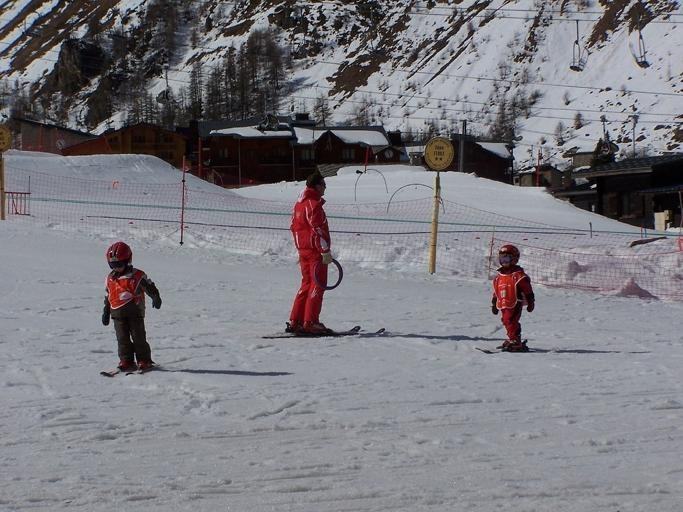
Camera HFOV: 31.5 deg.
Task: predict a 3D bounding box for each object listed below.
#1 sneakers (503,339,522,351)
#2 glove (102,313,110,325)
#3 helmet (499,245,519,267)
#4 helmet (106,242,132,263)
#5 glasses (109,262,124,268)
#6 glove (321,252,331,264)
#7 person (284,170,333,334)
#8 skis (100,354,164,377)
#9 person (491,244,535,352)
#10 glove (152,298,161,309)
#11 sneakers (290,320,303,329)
[{"bbox_3d":[2.989,1.554,21.282,0.266,0.079,0.195,-1,1,-42],"label":"sneakers"},{"bbox_3d":[-3.982,1.055,20.412,0.124,0.194,0.276,4,3,-12],"label":"glove"},{"bbox_3d":[2.904,-0.026,21.642,0.435,0.366,0.331,2,-3,-17],"label":"helmet"},{"bbox_3d":[-3.785,-0.097,20.478,0.345,0.354,0.431,-3,18,4],"label":"helmet"},{"bbox_3d":[-3.776,0.136,20.377,0.121,0.125,0.151,3,10,21],"label":"glasses"},{"bbox_3d":[-0.275,0.009,21.784,0.195,0.168,0.189,-5,-7,36],"label":"glove"},{"bbox_3d":[-0.559,-0.084,22.061,0.758,2.927,0.751,5,3,-10],"label":"person"},{"bbox_3d":[-3.529,1.888,20.182,1.001,0.256,0.285,4,3,-10],"label":"skis"},{"bbox_3d":[3.039,0.711,21.524,0.722,1.263,0.639,5,3,7],"label":"person"},{"bbox_3d":[-3.104,0.769,20.277,0.177,0.216,0.076,1,-4,-1],"label":"glove"},{"bbox_3d":[-0.819,1.233,21.920,0.226,0.168,0.076,4,3,-2],"label":"sneakers"}]
